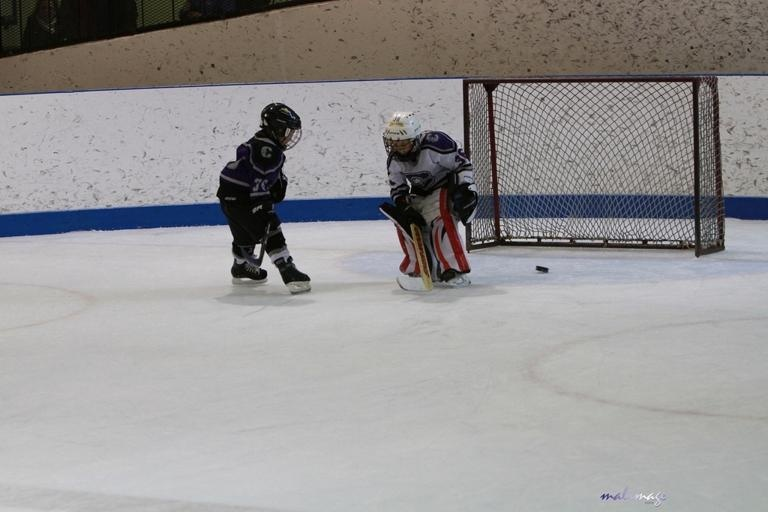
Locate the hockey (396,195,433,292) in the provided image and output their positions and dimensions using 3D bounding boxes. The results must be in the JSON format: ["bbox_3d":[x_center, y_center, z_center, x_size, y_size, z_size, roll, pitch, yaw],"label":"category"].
[{"bbox_3d":[0.170,-0.008,4.046,0.155,0.408,0.069,-17,-31,25],"label":"hockey"}]

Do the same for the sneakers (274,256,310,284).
[{"bbox_3d":[-0.517,0.076,4.016,0.158,0.154,0.200,-7,15,-16],"label":"sneakers"}]

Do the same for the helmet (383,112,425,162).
[{"bbox_3d":[0.105,-0.668,4.043,0.206,0.240,0.197,-2,15,2],"label":"helmet"}]

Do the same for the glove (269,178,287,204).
[{"bbox_3d":[-0.605,-0.371,4.218,0.115,0.133,0.052,19,0,-12],"label":"glove"}]
